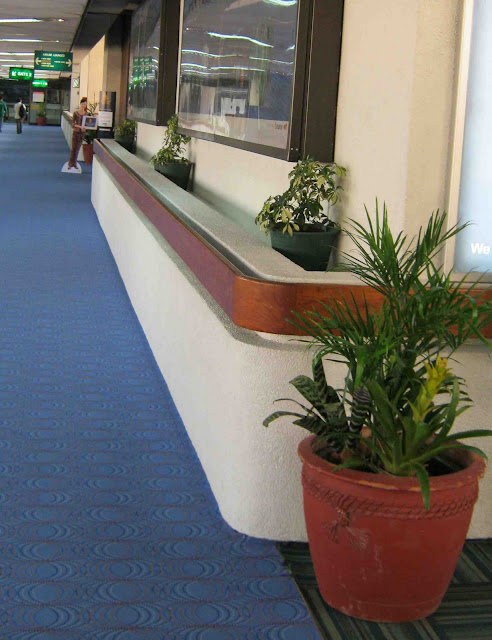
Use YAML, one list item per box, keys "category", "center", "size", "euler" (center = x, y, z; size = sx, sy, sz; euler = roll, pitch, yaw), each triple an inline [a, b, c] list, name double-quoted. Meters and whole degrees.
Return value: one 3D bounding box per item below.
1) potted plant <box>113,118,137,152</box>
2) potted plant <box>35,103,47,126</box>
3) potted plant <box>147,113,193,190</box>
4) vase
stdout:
- category: "potted plant"
  center: [-2.225, -3.415, 9.088]
  size: [0.346, 0.686, 0.589]
  euler: [2, 5, -20]
- category: "potted plant"
  center: [-15.982, -16.005, 38.477]
  size: [0.578, 1.737, 0.765]
  euler: [-1, 7, -44]
- category: "potted plant"
  center: [-0.779, -1.782, 5.175]
  size: [0.421, 0.855, 0.723]
  euler: [3, 5, -12]
- category: "vase"
  center: [0.257, -0.334, 2.081]
  size: [0.210, 0.167, 0.225]
  euler: [11, 19, 42]
